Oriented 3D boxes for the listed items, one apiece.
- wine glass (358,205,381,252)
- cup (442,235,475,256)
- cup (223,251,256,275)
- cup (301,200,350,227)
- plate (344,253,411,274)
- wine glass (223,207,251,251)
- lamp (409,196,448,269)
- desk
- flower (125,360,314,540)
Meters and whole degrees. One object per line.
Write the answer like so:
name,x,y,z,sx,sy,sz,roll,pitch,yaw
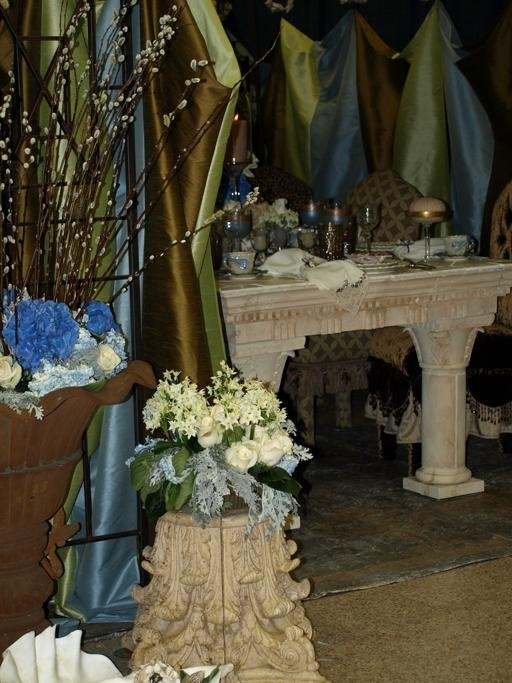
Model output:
wine glass,0.520,-0.511,3.296,0.093,0.210,0.147,-1,9,8
cup,0.927,-0.427,3.307,0.122,0.094,0.147,0,3,24
cup,-0.058,-0.303,2.811,0.109,0.090,0.089,-3,8,-7
cup,0.309,-0.562,3.163,0.170,0.108,0.167,-1,18,0
plate,0.539,-0.336,3.083,0.308,0.079,0.292,-4,8,-18
wine glass,-0.079,-0.430,2.824,0.131,0.170,0.124,-3,10,-11
lamp,0.786,-0.501,3.293,0.167,0.317,0.152,-5,20,-2
desk,0.485,0.155,2.933,1.238,0.753,0.418,-8,14,-26
flower,-0.095,0.228,1.560,0.420,0.333,0.335,-2,8,4
